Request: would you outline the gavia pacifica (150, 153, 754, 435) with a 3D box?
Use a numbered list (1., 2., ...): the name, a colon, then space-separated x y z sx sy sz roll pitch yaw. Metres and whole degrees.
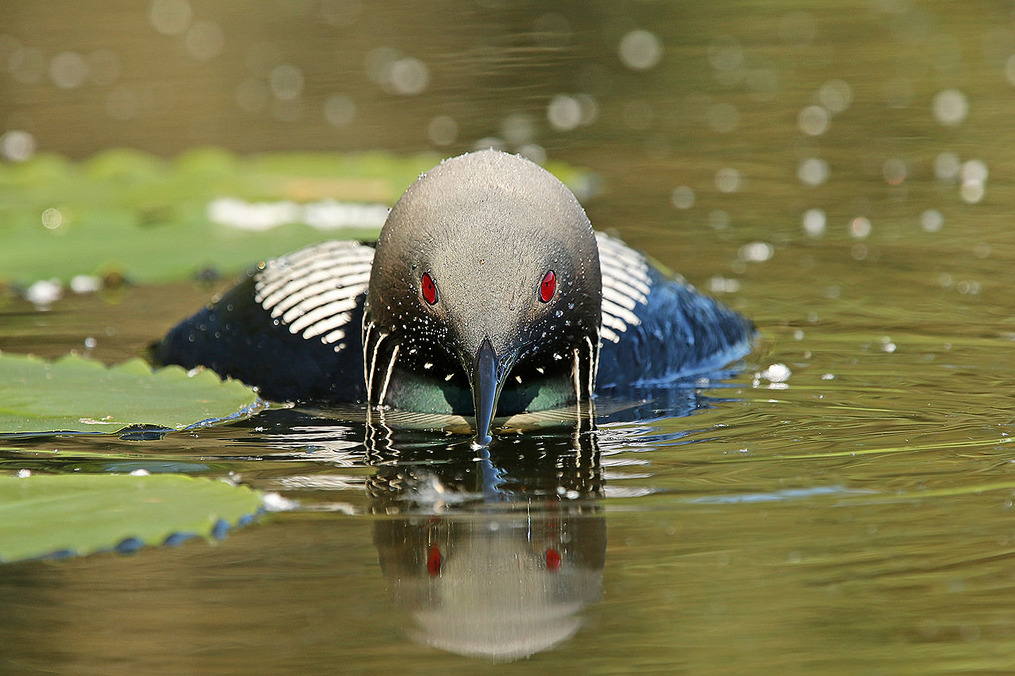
1. gavia pacifica: -0.192 -0.143 4.776 1.615 0.483 1.651 -2 10 -9
